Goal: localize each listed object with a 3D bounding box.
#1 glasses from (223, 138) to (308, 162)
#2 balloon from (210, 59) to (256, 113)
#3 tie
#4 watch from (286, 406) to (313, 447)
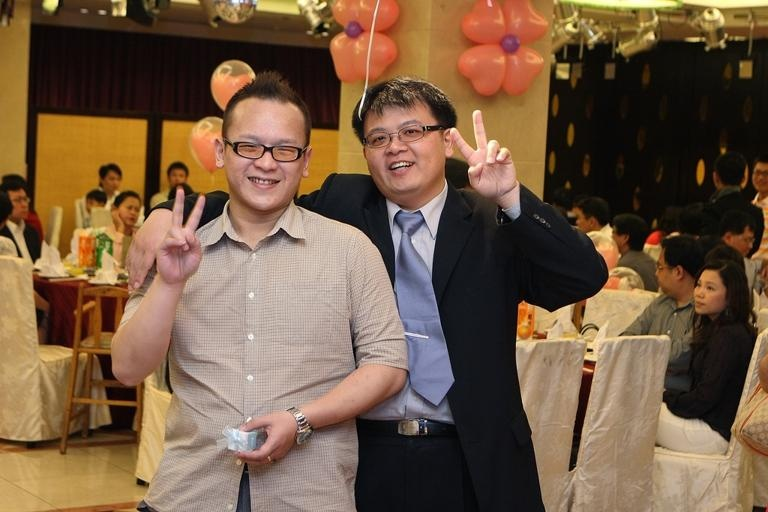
[{"bbox_3d":[-0.333,-0.293,1.839,0.222,0.060,0.059,0,5,-1],"label":"glasses"},{"bbox_3d":[-1.462,-1.601,6.094,0.339,0.424,0.333,-12,22,-42],"label":"balloon"},{"bbox_3d":[0.118,0.166,1.994,0.149,0.582,0.068,-9,-12,-4],"label":"tie"},{"bbox_3d":[-0.218,0.453,1.728,0.056,0.091,0.100,-18,-30,-24],"label":"watch"}]
